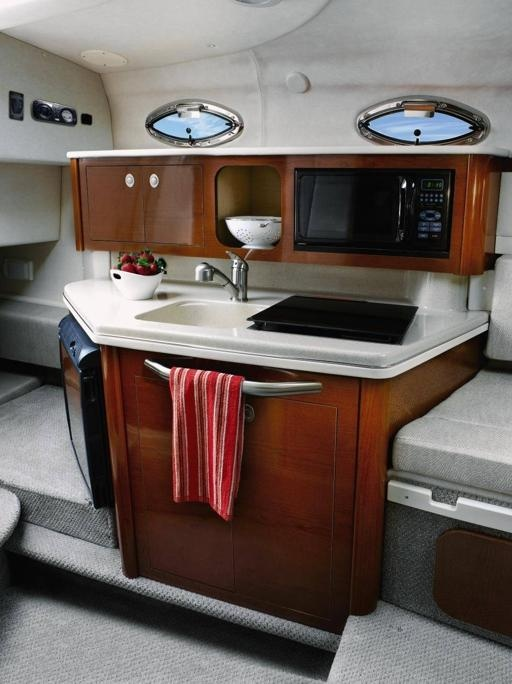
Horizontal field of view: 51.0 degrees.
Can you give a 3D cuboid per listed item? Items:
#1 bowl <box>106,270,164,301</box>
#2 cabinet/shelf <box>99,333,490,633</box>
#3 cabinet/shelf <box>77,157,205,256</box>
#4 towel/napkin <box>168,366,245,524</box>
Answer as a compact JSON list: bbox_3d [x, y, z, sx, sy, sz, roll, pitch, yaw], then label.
[{"bbox_3d":[-0.383,-0.175,1.719,0.113,0.067,0.115,3,12,-1],"label":"bowl"},{"bbox_3d":[0.061,0.323,1.631,0.731,0.648,0.806,6,7,28],"label":"cabinet/shelf"},{"bbox_3d":[-0.368,-0.512,2.008,0.531,0.321,0.295,4,17,9],"label":"cabinet/shelf"},{"bbox_3d":[-0.103,0.236,1.223,0.210,0.351,0.057,3,12,36],"label":"towel/napkin"}]
